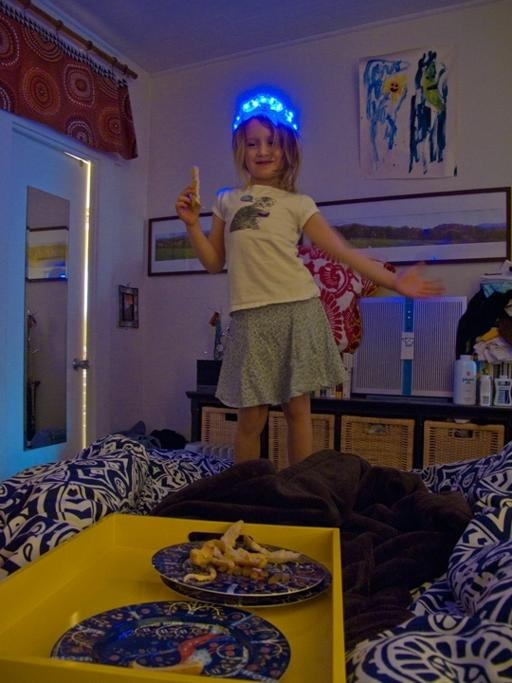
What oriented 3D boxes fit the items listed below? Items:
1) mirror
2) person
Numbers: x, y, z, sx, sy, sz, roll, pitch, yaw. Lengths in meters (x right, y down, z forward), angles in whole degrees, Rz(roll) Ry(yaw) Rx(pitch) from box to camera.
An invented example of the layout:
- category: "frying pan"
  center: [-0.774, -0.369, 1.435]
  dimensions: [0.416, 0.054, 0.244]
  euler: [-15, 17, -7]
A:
- category: "mirror"
  center: [-1.088, -0.115, 2.938]
  dimensions: [0.151, 1.173, 0.353]
  euler: [6, 1, 16]
- category: "person"
  center: [0.097, -0.161, 1.618]
  dimensions: [0.661, 0.957, 0.319]
  euler: [6, 1, 3]
